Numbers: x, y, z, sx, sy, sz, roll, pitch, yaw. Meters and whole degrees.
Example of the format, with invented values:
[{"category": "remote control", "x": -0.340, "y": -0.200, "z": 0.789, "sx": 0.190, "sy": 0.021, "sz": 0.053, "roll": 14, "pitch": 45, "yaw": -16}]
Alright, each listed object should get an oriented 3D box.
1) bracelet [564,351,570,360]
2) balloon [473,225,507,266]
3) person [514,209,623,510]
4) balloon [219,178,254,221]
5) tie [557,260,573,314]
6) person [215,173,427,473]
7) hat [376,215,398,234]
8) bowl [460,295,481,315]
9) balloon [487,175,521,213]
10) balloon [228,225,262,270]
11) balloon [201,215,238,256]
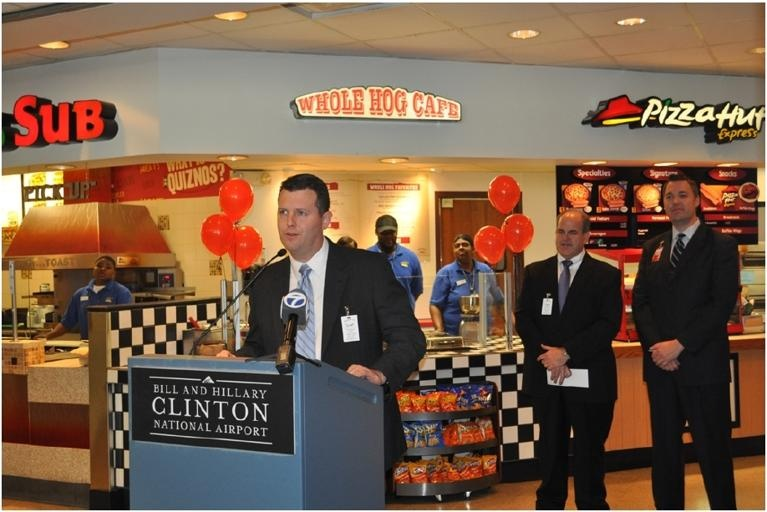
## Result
[{"category": "bracelet", "x": 1.293, "y": 0.706, "z": 4.546, "sx": 0.027, "sy": 0.058, "sz": 0.042, "roll": -37, "pitch": 18, "yaw": 11}, {"category": "balloon", "x": 0.986, "y": -0.118, "z": 5.918, "sx": 0.258, "sy": 0.360, "sz": 0.446, "roll": -2, "pitch": -3, "yaw": 12}, {"category": "person", "x": 1.345, "y": 0.748, "z": 4.668, "sx": 0.756, "sy": 2.179, "sz": 0.317, "roll": -3, "pitch": -3, "yaw": 18}, {"category": "balloon", "x": -1.300, "y": -0.512, "z": 5.715, "sx": 0.358, "sy": 0.414, "sz": 0.354, "roll": -1, "pitch": -1, "yaw": -11}, {"category": "tie", "x": 1.327, "y": 0.215, "z": 4.684, "sx": 0.072, "sy": 0.458, "sz": 0.069, "roll": 3, "pitch": -38, "yaw": 17}, {"category": "person", "x": -0.299, "y": 0.149, "z": 3.375, "sx": 0.954, "sy": 1.151, "sz": 0.394, "roll": -3, "pitch": -3, "yaw": 18}, {"category": "hat", "x": 0.027, "y": -0.346, "z": 6.917, "sx": 0.172, "sy": 0.126, "sz": 0.225, "roll": -2, "pitch": -6, "yaw": 0}, {"category": "bowl", "x": 0.760, "y": 0.433, "z": 5.634, "sx": 0.173, "sy": 0.123, "sz": 0.175, "roll": 0, "pitch": -7, "yaw": 0}, {"category": "balloon", "x": 1.131, "y": -0.592, "z": 5.975, "sx": 0.291, "sy": 0.343, "sz": 0.203, "roll": 1, "pitch": -4, "yaw": -44}, {"category": "balloon", "x": -1.224, "y": -0.081, "z": 5.767, "sx": 0.365, "sy": 0.405, "sz": 0.347, "roll": 2, "pitch": -2, "yaw": -8}, {"category": "balloon", "x": -1.478, "y": -0.187, "z": 5.544, "sx": 0.323, "sy": 0.387, "sz": 0.343, "roll": 8, "pitch": 11, "yaw": 40}]
